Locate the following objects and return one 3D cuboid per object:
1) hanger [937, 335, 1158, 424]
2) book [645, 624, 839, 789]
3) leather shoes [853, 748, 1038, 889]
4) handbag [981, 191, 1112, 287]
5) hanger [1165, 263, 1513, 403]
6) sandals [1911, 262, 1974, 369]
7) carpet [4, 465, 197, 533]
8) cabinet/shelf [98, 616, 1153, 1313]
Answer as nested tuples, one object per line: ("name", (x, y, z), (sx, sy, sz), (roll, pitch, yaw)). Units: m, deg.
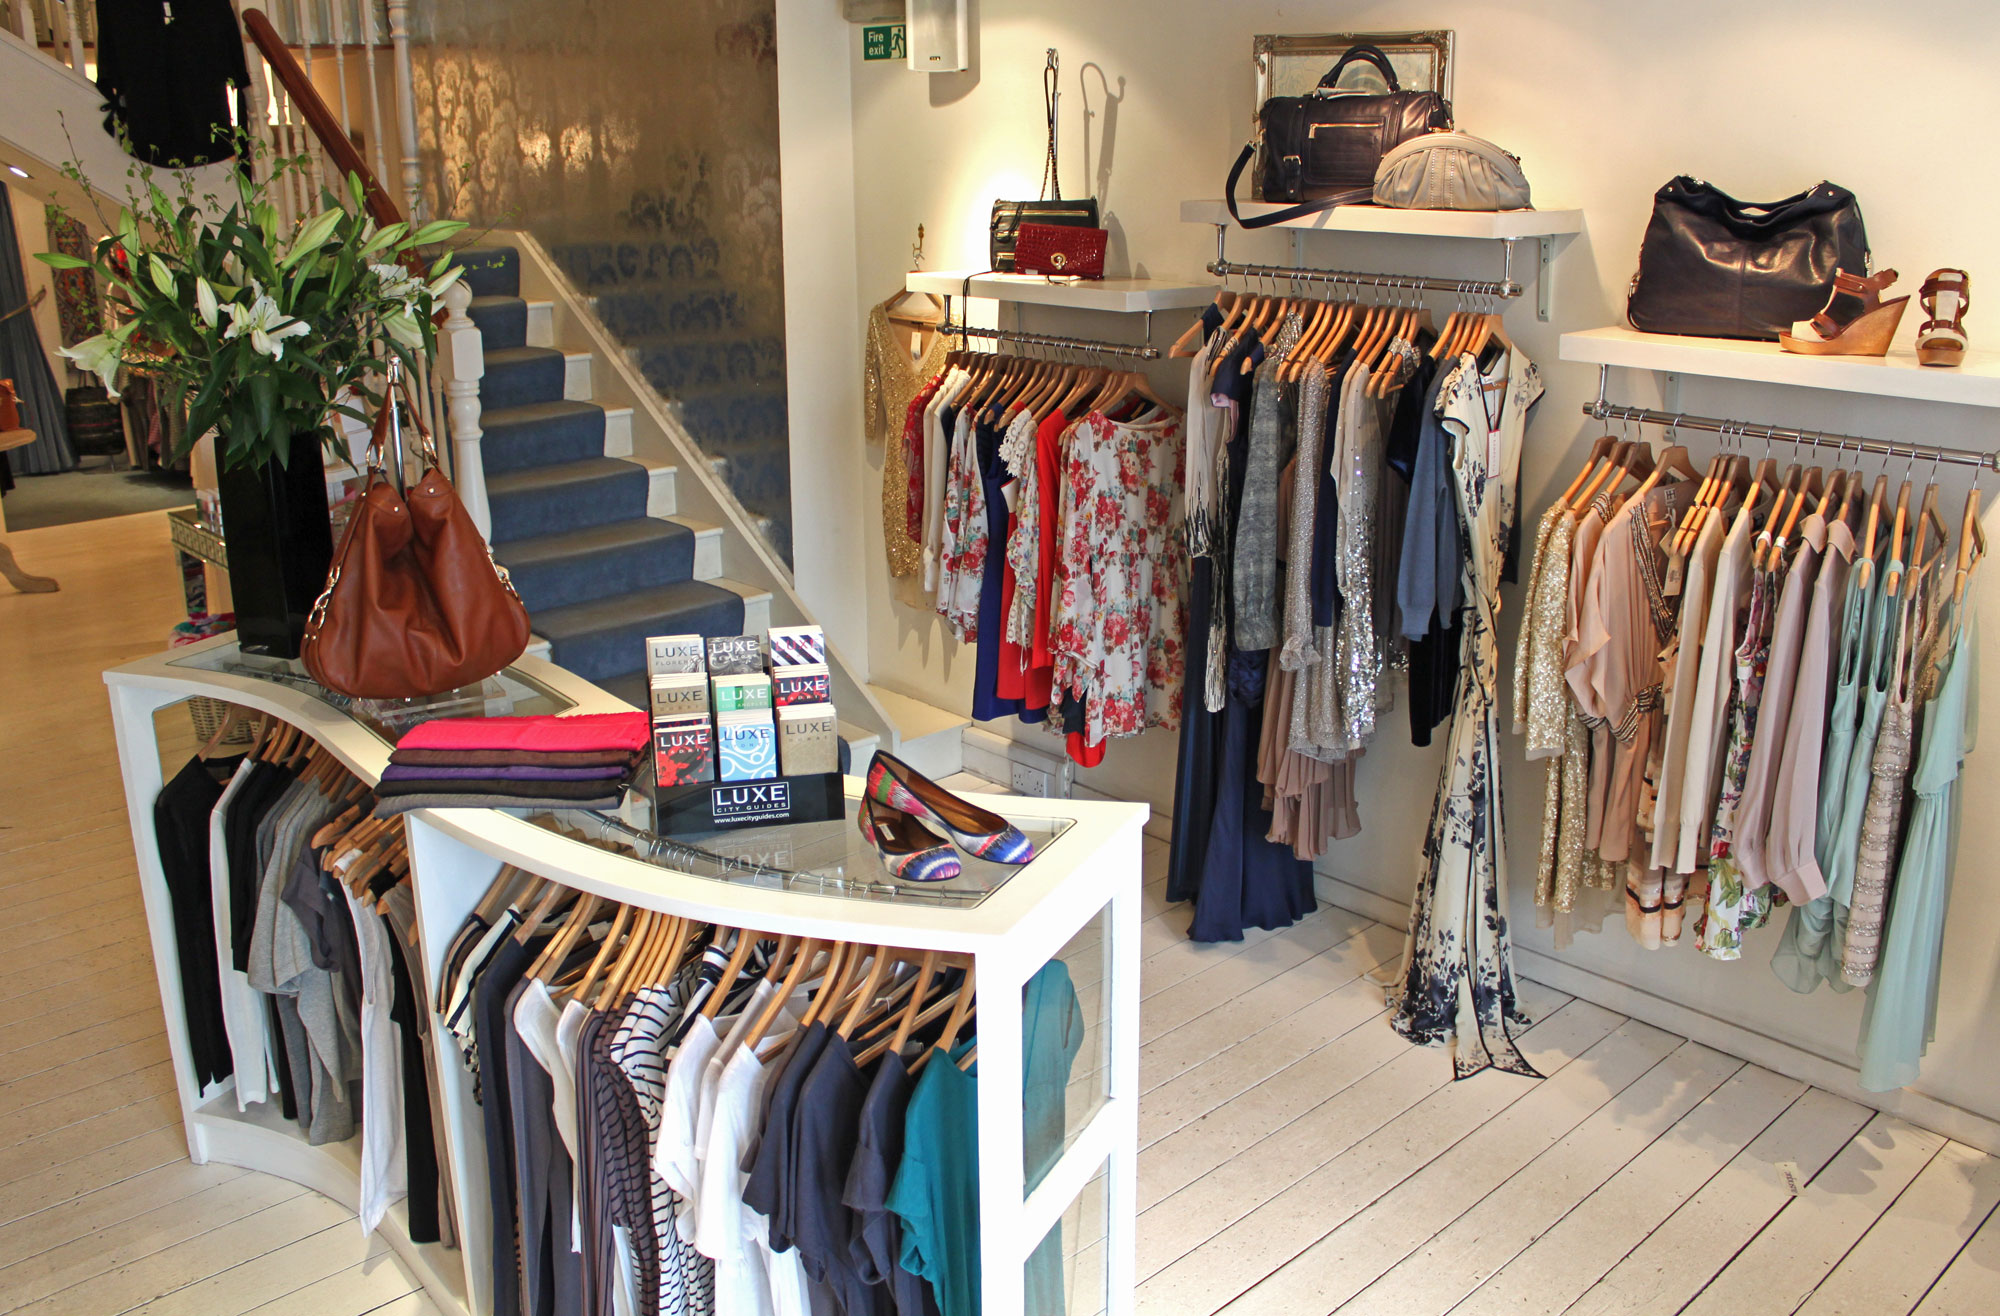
("hanger", (0.145, -0.992, 5.251), (0.532, 0.182, 0.387), (20, 33, 34))
("book", (-0.539, 0.113, 3.007), (0.286, 0.292, 0.139), (-4, 15, -9))
("leather shoes", (-0.147, 0.345, 2.985), (0.305, 0.129, 0.210), (24, 35, 39))
("handbag", (0.162, -1.545, 5.289), (0.459, 0.270, 0.319), (4, 21, 8))
("hanger", (1.112, -1.072, 4.600), (0.762, 0.294, 0.560), (14, 28, 34))
("sandals", (2.382, -0.844, 3.656), (0.113, 0.143, 0.366), (7, 61, 26))
("carpet", (-6.587, -1.189, 10.458), (1.138, 0.057, 1.782), (-16, 27, -37))
("cabinet/shelf", (-1.003, 0.855, 3.637), (2.849, 1.500, 0.906), (12, 23, 27))
